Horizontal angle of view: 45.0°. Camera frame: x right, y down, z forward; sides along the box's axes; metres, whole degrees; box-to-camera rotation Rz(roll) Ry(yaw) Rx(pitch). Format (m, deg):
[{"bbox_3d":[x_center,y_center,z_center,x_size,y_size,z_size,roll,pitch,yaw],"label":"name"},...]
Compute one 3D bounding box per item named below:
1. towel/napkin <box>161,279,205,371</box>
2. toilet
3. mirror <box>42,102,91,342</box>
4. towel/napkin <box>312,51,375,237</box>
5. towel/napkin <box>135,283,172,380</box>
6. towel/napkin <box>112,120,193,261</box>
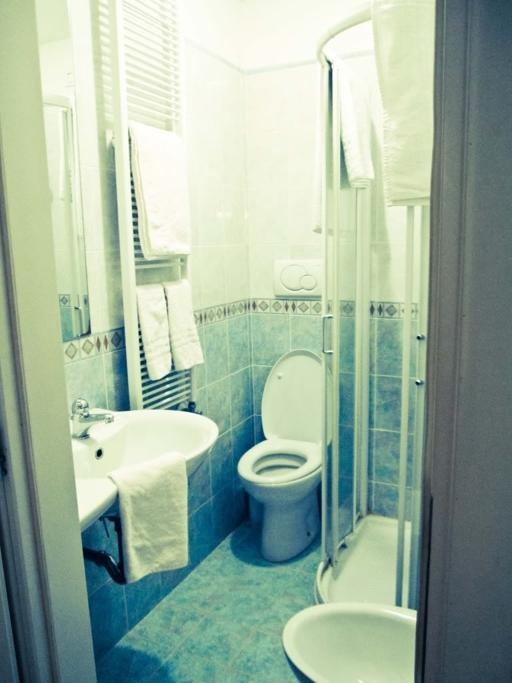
[{"bbox_3d":[-0.248,-0.053,2.095,0.052,0.280,0.149,1,8,24],"label":"towel/napkin"},{"bbox_3d":[0.100,0.468,2.539,0.333,0.800,0.621,0,7,5],"label":"toilet"},{"bbox_3d":[-0.516,-0.314,1.672,0.040,0.630,0.174,1,7,11],"label":"mirror"},{"bbox_3d":[0.276,-0.591,1.904,0.094,0.495,0.311,0,6,19],"label":"towel/napkin"},{"bbox_3d":[-0.319,-0.033,1.950,0.047,0.258,0.161,-1,6,21],"label":"towel/napkin"},{"bbox_3d":[-0.312,-0.462,1.920,0.079,0.371,0.309,1,8,17],"label":"towel/napkin"}]
